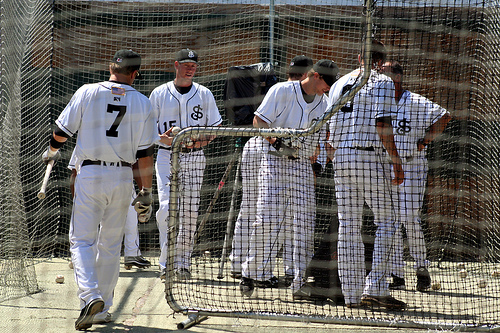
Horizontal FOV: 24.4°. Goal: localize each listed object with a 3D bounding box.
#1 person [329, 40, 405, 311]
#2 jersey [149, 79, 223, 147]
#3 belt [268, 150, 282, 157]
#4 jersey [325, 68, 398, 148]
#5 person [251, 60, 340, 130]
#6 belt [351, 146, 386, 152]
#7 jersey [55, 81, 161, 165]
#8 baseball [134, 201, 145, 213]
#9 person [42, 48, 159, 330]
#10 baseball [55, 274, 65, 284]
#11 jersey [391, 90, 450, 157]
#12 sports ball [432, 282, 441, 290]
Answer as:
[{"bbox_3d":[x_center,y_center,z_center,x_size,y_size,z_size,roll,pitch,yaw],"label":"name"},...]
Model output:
[{"bbox_3d":[1.322,0.141,13.163,0.891,2.946,1.231,1,-13,6],"label":"person"},{"bbox_3d":[-0.829,-0.655,14.342,1.012,0.699,0.345,1,3,-10],"label":"jersey"},{"bbox_3d":[0.283,-0.139,13.588,0.173,0.070,0.074,0,-12,10],"label":"belt"},{"bbox_3d":[1.259,-0.638,13.184,0.926,0.912,0.429,6,15,33],"label":"jersey"},{"bbox_3d":[0.534,-0.814,13.627,0.955,0.784,0.447,3,-12,-2],"label":"person"},{"bbox_3d":[1.371,-0.191,13.323,0.535,0.054,0.055,2,1,1],"label":"belt"},{"bbox_3d":[-1.607,-0.467,13.028,1.256,0.891,0.433,5,-2,-32],"label":"jersey"},{"bbox_3d":[-1.243,0.463,13.001,0.107,0.120,0.121,3,-12,-5],"label":"baseball"},{"bbox_3d":[-1.644,0.254,12.905,1.168,3.105,0.691,4,-13,-5],"label":"person"},{"bbox_3d":[-2.310,1.372,14.058,0.103,0.063,0.097,-2,4,-7],"label":"baseball"},{"bbox_3d":[2.020,-0.537,13.934,0.989,0.661,0.274,4,0,-6],"label":"jersey"},{"bbox_3d":[2.199,1.431,13.768,0.096,0.090,0.108,2,27,3],"label":"sports ball"}]
